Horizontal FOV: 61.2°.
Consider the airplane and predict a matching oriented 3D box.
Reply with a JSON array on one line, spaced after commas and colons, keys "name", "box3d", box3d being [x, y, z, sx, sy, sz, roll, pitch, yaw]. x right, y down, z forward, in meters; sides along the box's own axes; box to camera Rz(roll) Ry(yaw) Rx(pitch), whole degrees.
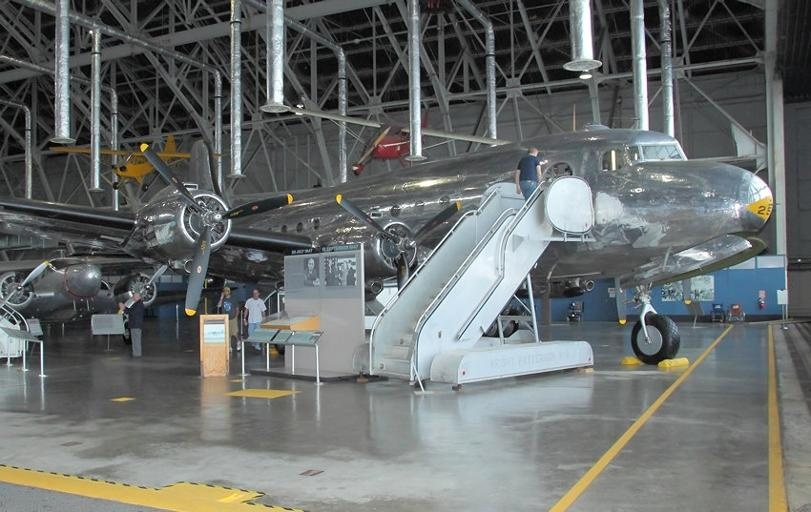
[{"name": "airplane", "box3d": [-0.977, -1.446, 27.669, 19.777, 5.752, 24.659, 0, 7, 3]}]

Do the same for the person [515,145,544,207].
[{"name": "person", "box3d": [2.830, -1.884, 15.883, 0.588, 1.191, 0.959, 0, 8, 9]}]
